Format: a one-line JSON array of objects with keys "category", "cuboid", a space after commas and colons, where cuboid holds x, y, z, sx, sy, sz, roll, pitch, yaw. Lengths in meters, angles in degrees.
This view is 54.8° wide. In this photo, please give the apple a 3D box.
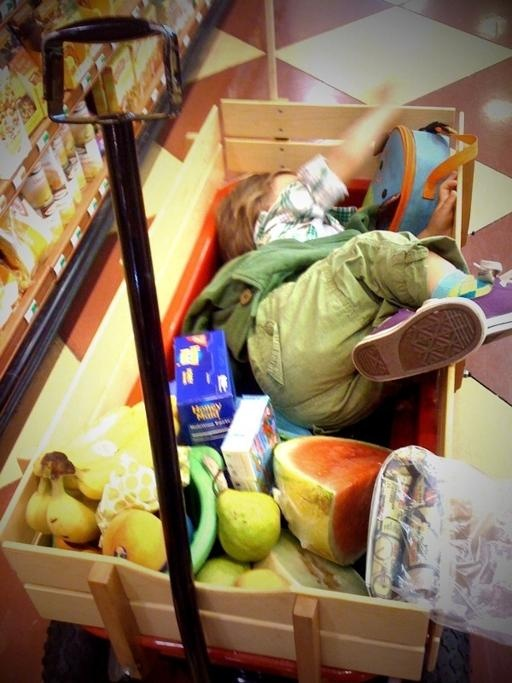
[{"category": "apple", "cuboid": [-0.223, 0.382, 0.903, 0.112, 0.131, 0.156, -6, -16, 12]}]

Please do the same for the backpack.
[{"category": "backpack", "cuboid": [0.547, -0.553, 1.656, 0.168, 0.466, 0.372, 8, 63, -9]}]

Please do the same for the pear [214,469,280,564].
[{"category": "pear", "cuboid": [-0.014, 0.333, 0.954, 0.109, 0.129, 0.132, -4, 44, 1]}]

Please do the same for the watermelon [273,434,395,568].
[{"category": "watermelon", "cuboid": [0.130, 0.363, 1.012, 0.251, 0.118, 0.270, 20, -15, -7]}]
